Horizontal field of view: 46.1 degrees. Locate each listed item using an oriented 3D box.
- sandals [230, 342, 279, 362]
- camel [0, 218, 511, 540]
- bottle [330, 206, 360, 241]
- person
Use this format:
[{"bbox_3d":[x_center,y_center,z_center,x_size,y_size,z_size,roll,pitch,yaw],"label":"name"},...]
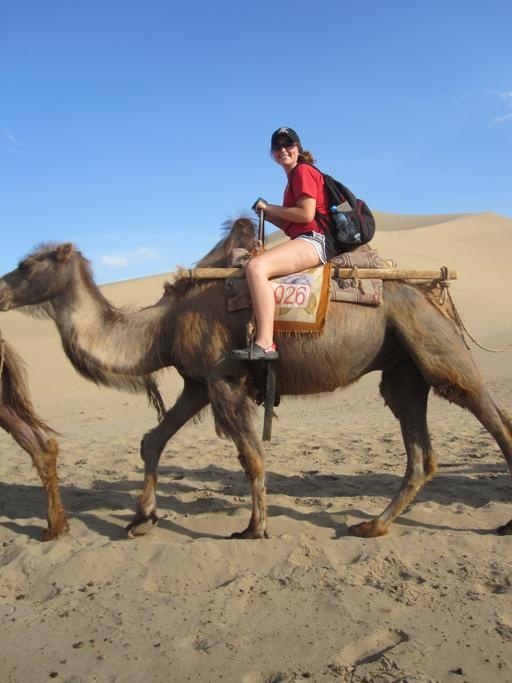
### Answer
[{"bbox_3d":[-0.015,0.071,4.349,0.301,0.099,0.143,2,-2,-15],"label":"sandals"},{"bbox_3d":[0.010,0.237,4.909,3.797,2.038,0.899,-2,-1,14],"label":"camel"},{"bbox_3d":[0.703,-0.920,4.694,0.198,0.263,0.125,-6,9,29],"label":"bottle"},{"bbox_3d":[0.389,-0.777,4.680,0.975,1.530,1.007,-3,-1,17],"label":"person"}]
